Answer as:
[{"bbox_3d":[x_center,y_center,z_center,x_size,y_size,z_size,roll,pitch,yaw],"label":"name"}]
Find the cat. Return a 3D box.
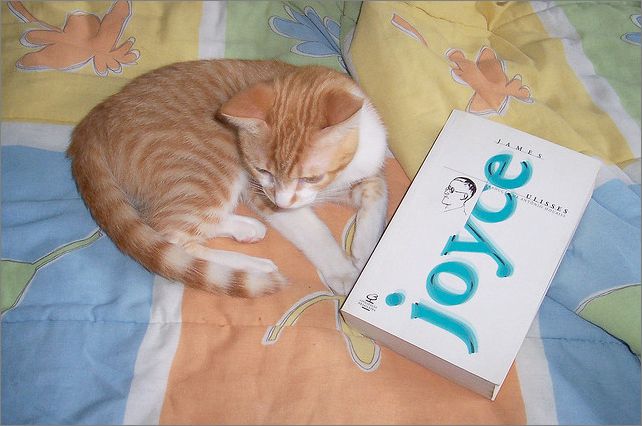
[{"bbox_3d":[-0.232,-0.136,1.433,0.832,0.295,0.598,10,51,-2],"label":"cat"}]
